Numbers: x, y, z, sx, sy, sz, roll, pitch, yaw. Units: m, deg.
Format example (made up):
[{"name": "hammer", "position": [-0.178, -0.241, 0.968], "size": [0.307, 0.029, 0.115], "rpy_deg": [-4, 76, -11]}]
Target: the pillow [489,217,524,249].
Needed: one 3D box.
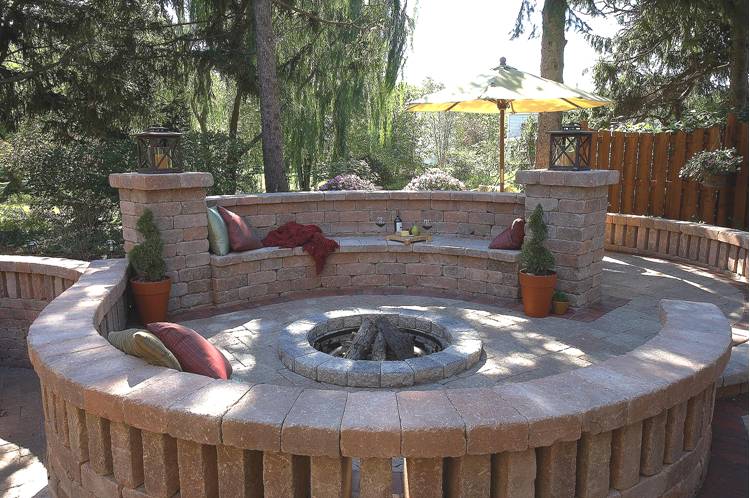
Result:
[{"name": "pillow", "position": [1.800, -0.206, 8.340], "size": [0.473, 0.394, 0.190], "rpy_deg": [1, 12, 11]}]

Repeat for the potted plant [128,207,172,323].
[{"name": "potted plant", "position": [-2.729, 0.225, 7.426], "size": [0.462, 1.340, 0.471], "rpy_deg": [-2, 10, -20]}]

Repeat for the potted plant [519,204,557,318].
[{"name": "potted plant", "position": [2.043, 0.144, 7.647], "size": [0.459, 1.414, 0.367], "rpy_deg": [0, 12, 5]}]

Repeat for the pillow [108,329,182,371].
[{"name": "pillow", "position": [-1.940, 0.852, 5.111], "size": [0.674, 0.383, 0.248], "rpy_deg": [2, 12, 19]}]

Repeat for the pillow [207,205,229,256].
[{"name": "pillow", "position": [-2.091, -0.216, 8.116], "size": [0.215, 0.513, 0.582], "rpy_deg": [0, 7, -4]}]

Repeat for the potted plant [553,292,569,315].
[{"name": "potted plant", "position": [2.331, 0.683, 7.779], "size": [0.233, 0.302, 0.244], "rpy_deg": [-1, 8, -3]}]

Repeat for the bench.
[{"name": "bench", "position": [-0.026, -0.100, 8.813], "size": [4.185, 1.445, 1.603], "rpy_deg": [-2, 12, -3]}]

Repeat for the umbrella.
[{"name": "umbrella", "position": [1.975, -2.273, 9.507], "size": [2.394, 1.933, 2.463], "rpy_deg": [8, 15, 44]}]

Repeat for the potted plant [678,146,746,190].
[{"name": "potted plant", "position": [5.533, -1.383, 10.060], "size": [0.690, 0.500, 0.708], "rpy_deg": [15, 33, 37]}]
